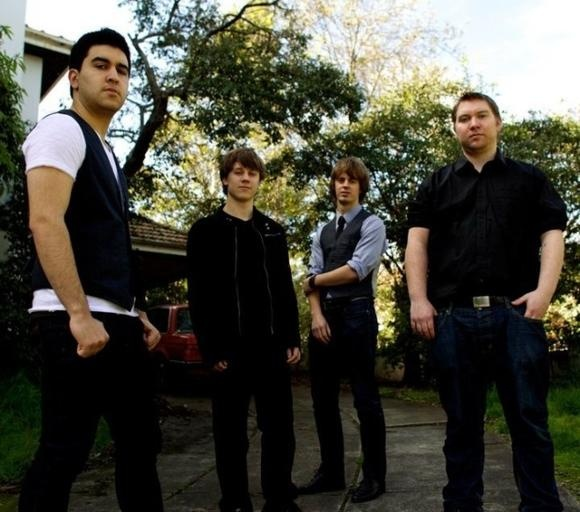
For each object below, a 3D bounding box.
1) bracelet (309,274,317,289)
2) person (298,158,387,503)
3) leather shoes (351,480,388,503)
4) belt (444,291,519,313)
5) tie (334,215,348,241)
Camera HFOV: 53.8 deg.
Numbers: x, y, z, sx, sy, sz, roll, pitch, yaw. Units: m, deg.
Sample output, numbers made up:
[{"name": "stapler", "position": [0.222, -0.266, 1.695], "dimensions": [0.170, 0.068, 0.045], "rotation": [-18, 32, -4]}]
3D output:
[{"name": "bracelet", "position": [0.144, 0.176, 3.784], "dimensions": [0.050, 0.084, 0.075], "rotation": [1, -24, 8]}, {"name": "person", "position": [0.330, 0.388, 3.699], "dimensions": [0.591, 1.509, 0.789], "rotation": [-4, -2, 16]}, {"name": "leather shoes", "position": [0.449, 1.389, 3.357], "dimensions": [0.080, 0.088, 0.219], "rotation": [-11, -20, 33]}, {"name": "belt", "position": [0.916, 0.226, 2.839], "dimensions": [0.332, 0.062, 0.050], "rotation": [-5, -3, 30]}, {"name": "tie", "position": [0.346, -0.200, 3.927], "dimensions": [0.039, 0.202, 0.053], "rotation": [13, -7, 41]}]
